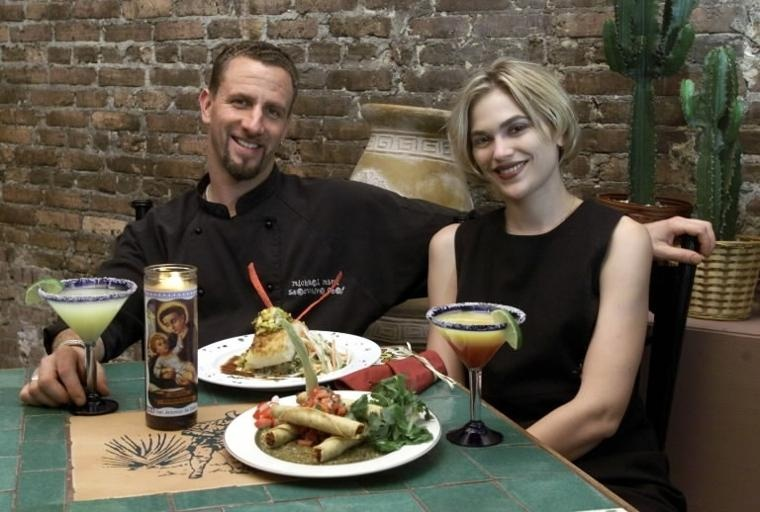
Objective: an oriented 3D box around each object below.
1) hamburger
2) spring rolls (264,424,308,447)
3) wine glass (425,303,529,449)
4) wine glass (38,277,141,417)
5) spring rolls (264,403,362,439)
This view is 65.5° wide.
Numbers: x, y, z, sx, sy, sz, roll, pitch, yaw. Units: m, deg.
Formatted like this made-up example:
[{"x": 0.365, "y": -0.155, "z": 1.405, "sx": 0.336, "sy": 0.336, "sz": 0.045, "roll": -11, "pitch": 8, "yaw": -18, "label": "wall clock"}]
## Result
[{"x": -0.294, "y": 0.235, "z": 1.870, "sx": 0.241, "sy": 0.199, "sz": 0.258, "roll": -9, "pitch": 8, "yaw": -44, "label": "hamburger"}, {"x": -0.235, "y": 0.430, "z": 1.424, "sx": 0.044, "sy": 0.028, "sz": 0.077, "roll": -5, "pitch": 1, "yaw": 28, "label": "spring rolls"}, {"x": 0.226, "y": 0.262, "z": 1.554, "sx": 0.210, "sy": 0.389, "sz": 0.232, "roll": -5, "pitch": 14, "yaw": -18, "label": "wine glass"}, {"x": -0.771, "y": 0.229, "z": 1.657, "sx": 0.215, "sy": 0.433, "sz": 0.239, "roll": -1, "pitch": 10, "yaw": -15, "label": "wine glass"}, {"x": -0.153, "y": 0.390, "z": 1.408, "sx": 0.256, "sy": 0.069, "sz": 0.061, "roll": 10, "pitch": 38, "yaw": 27, "label": "spring rolls"}]
